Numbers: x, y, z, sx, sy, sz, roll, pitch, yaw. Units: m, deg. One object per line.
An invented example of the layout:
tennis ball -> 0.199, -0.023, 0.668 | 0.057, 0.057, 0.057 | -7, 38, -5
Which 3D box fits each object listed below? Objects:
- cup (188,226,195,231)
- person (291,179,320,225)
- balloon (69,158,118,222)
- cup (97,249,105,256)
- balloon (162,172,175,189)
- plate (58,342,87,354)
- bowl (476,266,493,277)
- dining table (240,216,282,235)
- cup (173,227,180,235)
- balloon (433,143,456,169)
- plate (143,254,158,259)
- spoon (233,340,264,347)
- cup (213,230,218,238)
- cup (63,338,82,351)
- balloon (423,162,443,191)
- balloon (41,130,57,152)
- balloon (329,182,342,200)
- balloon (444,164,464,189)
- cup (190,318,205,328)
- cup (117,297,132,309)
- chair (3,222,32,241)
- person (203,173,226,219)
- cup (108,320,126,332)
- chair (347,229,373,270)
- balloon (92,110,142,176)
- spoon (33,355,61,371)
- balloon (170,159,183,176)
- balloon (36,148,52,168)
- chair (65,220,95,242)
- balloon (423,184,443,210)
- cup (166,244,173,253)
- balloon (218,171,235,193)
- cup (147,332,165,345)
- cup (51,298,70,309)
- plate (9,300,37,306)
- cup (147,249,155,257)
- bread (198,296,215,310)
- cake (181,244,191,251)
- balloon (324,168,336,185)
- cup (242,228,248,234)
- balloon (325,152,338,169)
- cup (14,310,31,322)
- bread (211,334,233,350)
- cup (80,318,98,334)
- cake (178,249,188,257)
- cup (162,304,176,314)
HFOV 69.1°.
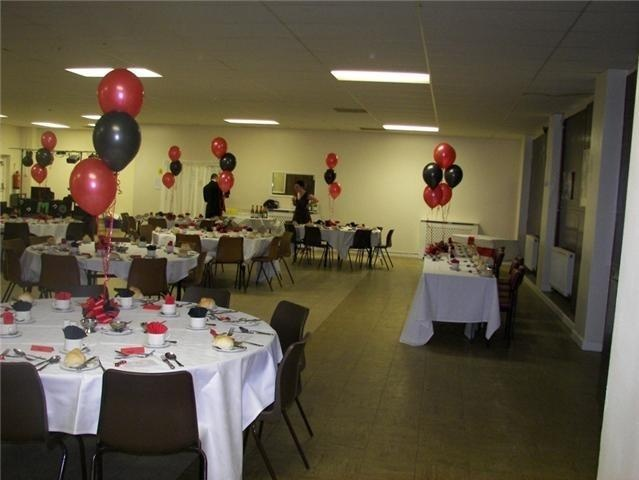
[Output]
cup -> -2.535, -0.232, 9.230 | 0.116, 0.097, 0.125 | 1, 2, 0
person -> -0.393, -1.006, 12.170 | 0.572, 1.199, 1.980 | 3, 3, -2
balloon -> -1.927, -0.447, 3.965 | 0.367, 0.524, 0.395 | -2, 3, 24
cup -> -2.750, 0.161, 5.845 | 0.079, 0.067, 0.085 | 2, 0, 0
balloon -> -4.053, -1.610, 12.495 | 0.252, 0.363, 0.306 | 3, 3, -6
plate -> -1.521, 0.649, 2.851 | 0.129, 0.097, 0.083 | 13, -11, -28
bowl -> 2.149, 0.407, 6.031 | 0.082, 0.120, 0.262 | -1, -1, 2
dining table -> -1.556, -0.410, 12.569 | 0.770, 0.347, 0.639 | 2, 4, 17
cup -> -2.708, -0.171, 8.791 | 0.142, 0.167, 0.133 | -5, 0, 0
balloon -> 2.215, -1.477, 8.330 | 0.416, 0.589, 0.450 | -1, 1, 1
plate -> -2.086, 0.217, 5.738 | 0.115, 0.041, 0.126 | 1, 3, 11
spoon -> -0.485, 0.706, 3.131 | 0.189, 0.017, 0.069 | 0, 27, 23
cup -> -1.934, -0.105, 8.627 | 0.131, 0.098, 0.129 | 0, 3, 0
cup -> -1.528, 0.651, 2.879 | 0.098, 0.073, 0.062 | 17, -18, -31
balloon -> 2.018, -1.154, 8.434 | 0.356, 0.529, 0.404 | 0, -3, -4
balloon -> -6.324, -2.314, 10.854 | 0.247, 0.490, 0.750 | 1, 4, -27
balloon -> 0.408, -1.314, 12.536 | 0.350, 0.519, 0.396 | 1, 0, -2
balloon -> 2.433, -1.172, 8.479 | 0.295, 0.391, 0.398 | 4, 3, 14
cup -> -0.892, 0.599, 3.393 | 0.087, 0.064, 0.063 | 5, -4, -42
cup -> -1.615, 0.518, 3.855 | 0.092, 0.098, 0.096 | 4, 4, 0
chair -> -5.727, -0.160, 8.769 | 0.269, 0.495, 0.316 | 1, 11, -9
person -> -2.683, -1.039, 11.688 | 0.439, 1.376, 0.443 | 1, 43, -15
cup -> -1.398, 0.601, 3.217 | 0.062, 0.047, 0.111 | 1, -7, 0
chair -> 0.972, 0.234, 11.175 | 0.649, 1.232, 0.777 | -1, 16, -6
balloon -> -1.685, -0.817, 3.872 | 0.431, 0.532, 0.468 | 0, 2, 7
spoon -> -1.589, 0.718, 2.701 | 0.040, 0.023, 0.145 | 10, 14, 11
balloon -> -3.747, -1.870, 12.172 | 0.333, 0.490, 0.375 | 1, -2, -6
balloon -> -6.320, -1.889, 10.644 | 0.311, 0.413, 0.390 | 1, 4, -33
chair -> -4.924, -0.184, 9.494 | 0.401, 0.548, 0.391 | 11, 10, 34
balloon -> 2.084, -0.819, 8.772 | 0.354, 0.522, 0.418 | 1, 1, -2
cup -> -2.125, 0.126, 6.591 | 0.086, 0.099, 0.093 | 0, 5, 0
balloon -> -1.962, -1.245, 9.883 | 0.328, 0.486, 0.372 | 1, 2, -6
cup -> -1.072, 0.644, 3.061 | 0.070, 0.068, 0.093 | -1, 0, -40
cup -> -2.055, 0.500, 3.670 | 0.095, 0.077, 0.076 | -2, 7, -16
plate -> -2.246, 0.481, 3.526 | 0.081, 0.036, 0.082 | -4, -8, 13
cup -> -2.204, 0.173, 6.059 | 0.077, 0.066, 0.082 | 0, 0, 0
bread -> -0.928, 0.522, 3.852 | 0.092, 0.063, 0.098 | 3, -1, 25
cake -> -1.881, 0.102, 6.496 | 0.093, 0.111, 0.120 | 1, -7, -8
balloon -> 0.281, -1.704, 12.455 | 0.243, 0.446, 0.467 | 3, 3, -3
cup -> -1.464, -0.170, 9.161 | 0.096, 0.088, 0.144 | 9, 8, 40
balloon -> 0.327, -2.110, 12.327 | 0.267, 0.407, 0.505 | 3, 3, 6
cup -> -2.159, 0.542, 3.381 | 0.076, 0.083, 0.081 | 3, 9, 0
bread -> -0.628, 0.663, 3.012 | 0.076, 0.081, 0.110 | 0, -7, 5
cup -> -1.611, 0.592, 3.235 | 0.090, 0.079, 0.096 | 0, -2, 0
cake -> -1.871, 0.177, 6.383 | 0.094, 0.078, 0.099 | 0, 0, -19
cup -> -1.197, 0.547, 3.656 | 0.079, 0.068, 0.084 | 0, 2, 0
